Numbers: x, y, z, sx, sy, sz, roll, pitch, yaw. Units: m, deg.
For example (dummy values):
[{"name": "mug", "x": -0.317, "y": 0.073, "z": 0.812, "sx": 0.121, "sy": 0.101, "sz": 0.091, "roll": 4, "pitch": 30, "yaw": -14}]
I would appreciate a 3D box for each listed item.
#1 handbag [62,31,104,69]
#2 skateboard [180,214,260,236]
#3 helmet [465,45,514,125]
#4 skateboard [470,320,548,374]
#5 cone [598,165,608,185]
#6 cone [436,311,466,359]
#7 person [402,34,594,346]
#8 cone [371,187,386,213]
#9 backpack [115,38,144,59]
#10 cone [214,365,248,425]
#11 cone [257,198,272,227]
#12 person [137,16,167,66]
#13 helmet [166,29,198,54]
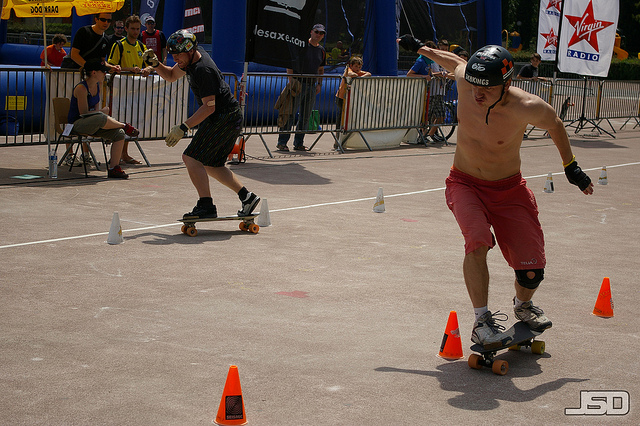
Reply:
[{"name": "handbag", "x": -4.991, "y": -3.463, "z": 11.967, "sx": 0.677, "sy": 0.931, "sz": 0.339, "roll": 23, "pitch": 20, "yaw": -3}, {"name": "skateboard", "x": -1.388, "y": 0.124, "z": 7.832, "sx": 0.871, "sy": 0.193, "sz": 0.434, "roll": -3, "pitch": 6, "yaw": -18}, {"name": "helmet", "x": 1.403, "y": -1.082, "z": 4.764, "sx": 0.383, "sy": 0.614, "sz": 0.478, "roll": 23, "pitch": 38, "yaw": 34}, {"name": "skateboard", "x": 1.568, "y": 1.093, "z": 4.700, "sx": 0.843, "sy": 0.271, "sz": 0.250, "roll": -9, "pitch": 19, "yaw": -38}, {"name": "cone", "x": 6.089, "y": -0.830, "z": 12.231, "sx": 0.191, "sy": 0.387, "sz": 0.497, "roll": 10, "pitch": 16, "yaw": 25}, {"name": "cone", "x": 1.081, "y": 1.012, "z": 4.693, "sx": 0.252, "sy": 0.358, "sz": 0.271, "roll": 2, "pitch": 1, "yaw": 13}, {"name": "person", "x": 1.529, "y": -0.188, "z": 4.730, "sx": 0.965, "sy": 2.300, "sz": 0.930, "roll": 6, "pitch": 15, "yaw": 13}, {"name": "cone", "x": 0.978, "y": -0.248, "z": 9.345, "sx": 0.233, "sy": 0.377, "sz": 0.468, "roll": 4, "pitch": 15, "yaw": 5}, {"name": "backpack", "x": -3.998, "y": -3.490, "z": 11.997, "sx": 0.296, "sy": 0.472, "sz": 0.438, "roll": 1, "pitch": 8, "yaw": -7}, {"name": "cone", "x": -0.560, "y": 1.159, "z": 3.625, "sx": 0.209, "sy": 0.374, "sz": 0.118, "roll": 0, "pitch": 15, "yaw": -11}, {"name": "cone", "x": -0.789, "y": -0.029, "z": 8.272, "sx": 0.210, "sy": 0.373, "sz": 0.336, "roll": 1, "pitch": 15, "yaw": -6}, {"name": "person", "x": -3.777, "y": -3.694, "z": 12.929, "sx": 0.735, "sy": 1.484, "sz": 0.389, "roll": -5, "pitch": -12, "yaw": -18}, {"name": "helmet", "x": -1.847, "y": -2.302, "z": 7.733, "sx": 0.401, "sy": 0.361, "sz": 0.307, "roll": -6, "pitch": 12, "yaw": -36}]
